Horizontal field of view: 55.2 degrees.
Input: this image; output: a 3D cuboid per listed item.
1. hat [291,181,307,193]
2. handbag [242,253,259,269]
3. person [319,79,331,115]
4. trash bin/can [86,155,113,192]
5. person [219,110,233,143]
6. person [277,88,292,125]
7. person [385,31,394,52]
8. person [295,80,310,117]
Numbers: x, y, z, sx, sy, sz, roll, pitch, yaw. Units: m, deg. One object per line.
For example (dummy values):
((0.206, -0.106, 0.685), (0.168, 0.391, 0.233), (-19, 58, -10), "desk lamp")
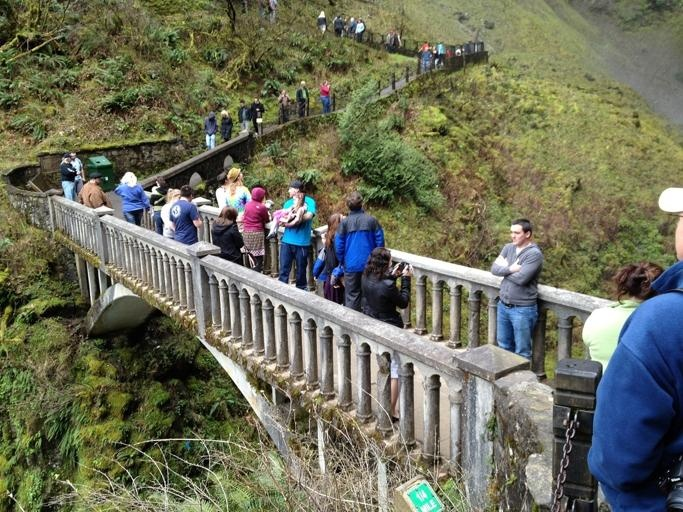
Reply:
((-0.716, -1.163, 10.619), (0.158, 0.228, 0.182), (11, 4, 43), "hat")
((-1.602, 0.090, 11.506), (0.096, 0.224, 0.199), (-28, 9, -27), "handbag")
((-0.661, -6.822, 28.682), (0.494, 1.451, 2.055), (6, 31, -4), "person")
((-7.763, -2.644, 21.362), (0.597, 0.990, 0.549), (-6, 9, -21), "trash bin/can")
((-4.371, -4.932, 24.807), (0.373, 1.599, 1.356), (3, 30, -10), "person")
((-2.317, -6.141, 26.715), (0.479, 1.161, 1.385), (6, 30, -6), "person")
((3.038, -13.495, 40.764), (0.487, 0.885, 1.973), (9, 31, -1), "person")
((-1.614, -6.834, 27.716), (0.551, 1.302, 2.114), (6, 31, -6), "person")
